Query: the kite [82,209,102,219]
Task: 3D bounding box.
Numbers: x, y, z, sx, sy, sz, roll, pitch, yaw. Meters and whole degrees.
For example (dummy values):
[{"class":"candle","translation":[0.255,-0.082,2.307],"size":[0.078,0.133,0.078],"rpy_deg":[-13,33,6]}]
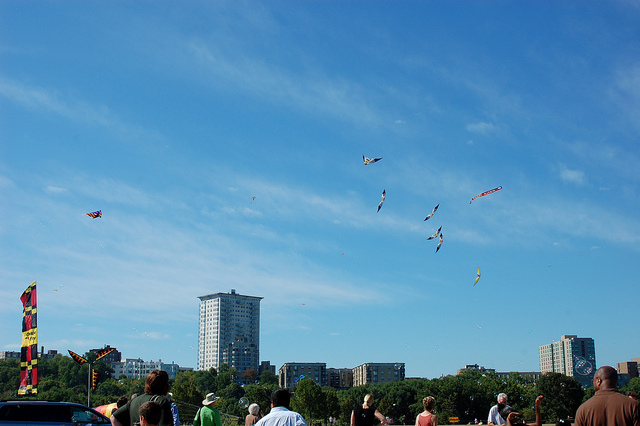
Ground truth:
[{"class":"kite","translation":[-27.644,0.222,114.915],"size":[2.027,1.197,1.065],"rpy_deg":[-1,1,16]}]
